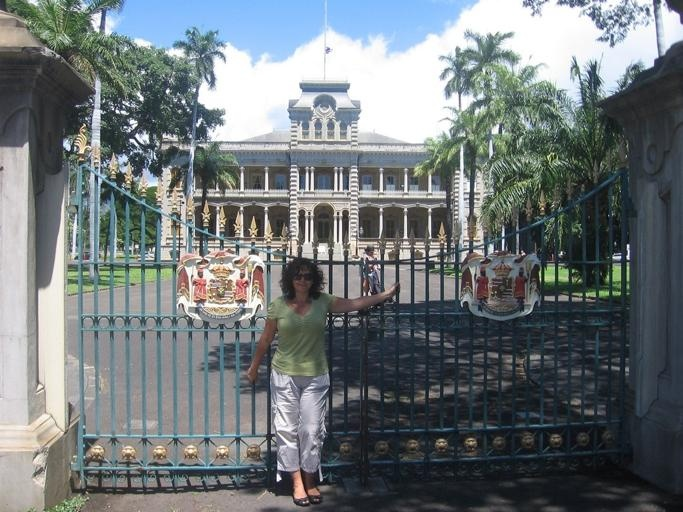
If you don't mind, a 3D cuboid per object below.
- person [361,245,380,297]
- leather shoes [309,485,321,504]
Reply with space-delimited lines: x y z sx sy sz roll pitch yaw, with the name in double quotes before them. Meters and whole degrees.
"person" 0.386 0.217 12.455 0.335 0.880 0.484 1 -8 3
"leather shoes" -0.282 2.500 9.920 0.145 0.149 0.149 -1 10 -7
